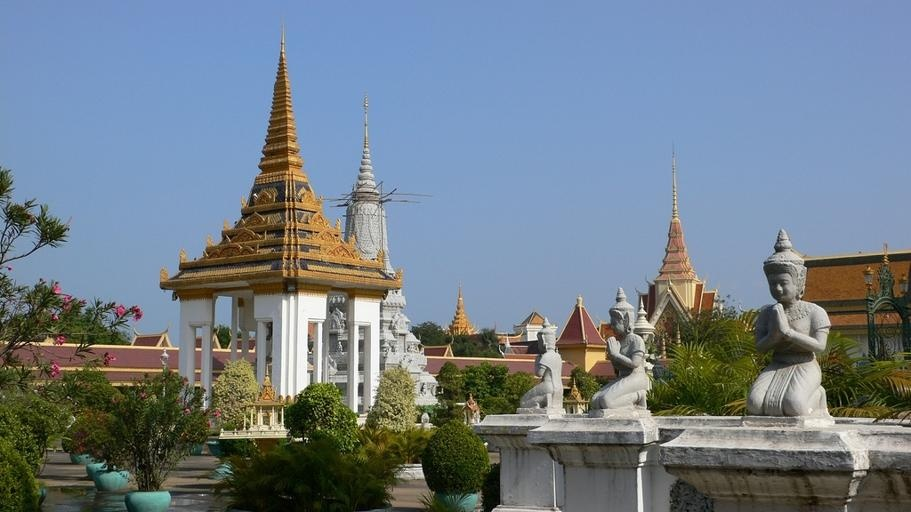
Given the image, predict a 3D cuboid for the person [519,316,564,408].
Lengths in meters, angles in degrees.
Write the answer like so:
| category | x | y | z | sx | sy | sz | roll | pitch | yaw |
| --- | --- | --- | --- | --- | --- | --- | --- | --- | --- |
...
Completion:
| category | x | y | z | sx | sy | sz | roll | pitch | yaw |
| --- | --- | --- | --- | --- | --- | --- | --- | --- | --- |
| person | 1.990 | 2.603 | 34.900 | 0.898 | 2.319 | 1.521 | -2 | -13 | 2 |
